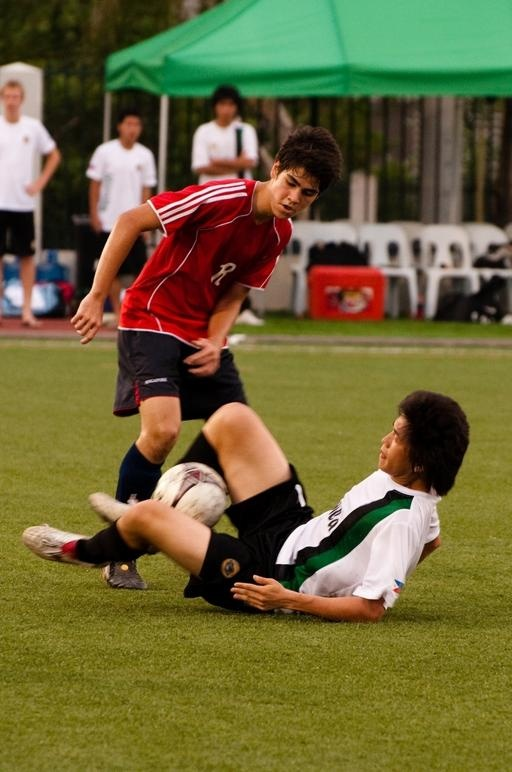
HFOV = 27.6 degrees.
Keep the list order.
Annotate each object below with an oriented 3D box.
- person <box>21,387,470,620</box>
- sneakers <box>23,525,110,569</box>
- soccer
[{"bbox_3d":[0.007,0.223,2.430,0.948,0.404,0.529,2,5,17],"label":"person"},{"bbox_3d":[-0.454,0.361,2.430,0.224,0.071,0.080,14,2,-2],"label":"sneakers"},{"bbox_3d":[-0.140,0.234,2.399,0.191,0.132,0.132,7,16,3],"label":"soccer"}]
